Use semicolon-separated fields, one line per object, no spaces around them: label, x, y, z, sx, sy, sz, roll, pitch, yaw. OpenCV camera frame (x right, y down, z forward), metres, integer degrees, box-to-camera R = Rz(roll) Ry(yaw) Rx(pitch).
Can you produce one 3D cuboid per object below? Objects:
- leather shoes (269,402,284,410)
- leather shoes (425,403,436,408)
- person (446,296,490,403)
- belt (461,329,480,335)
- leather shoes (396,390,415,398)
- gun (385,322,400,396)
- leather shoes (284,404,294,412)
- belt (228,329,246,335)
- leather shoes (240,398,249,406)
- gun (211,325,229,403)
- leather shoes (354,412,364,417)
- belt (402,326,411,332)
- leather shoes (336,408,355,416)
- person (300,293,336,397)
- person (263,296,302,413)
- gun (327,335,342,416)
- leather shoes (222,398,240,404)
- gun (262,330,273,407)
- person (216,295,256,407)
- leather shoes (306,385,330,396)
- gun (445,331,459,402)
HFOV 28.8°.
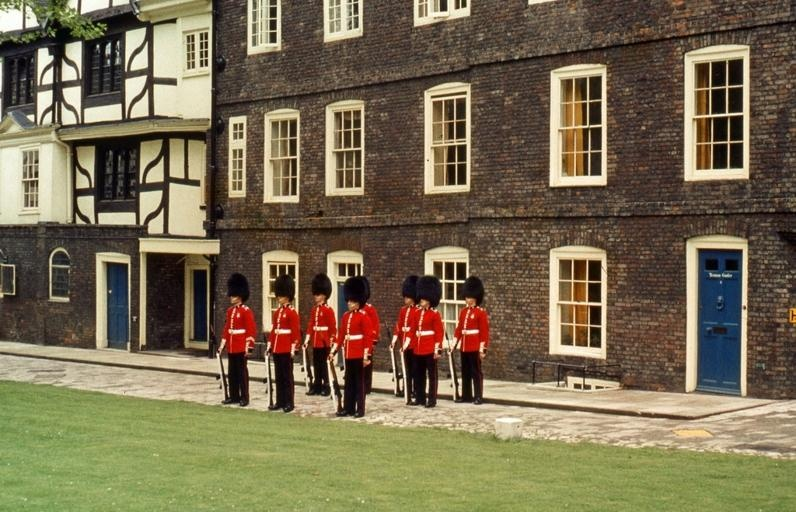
leather shoes;-2.996;3.446;37.224;0.255;0.097;0.162;-2;0;32
leather shoes;0.770;3.447;37.535;0.249;0.109;0.230;0;-4;2
person;1.730;2.200;38.101;0.912;2.508;0.843;0;-4;6
belt;1.787;1.724;38.031;0.381;0.132;0.058;0;-4;-1
leather shoes;0.180;3.280;38.765;0.589;0.235;0.181;-7;-9;44
gun;-0.144;2.542;40.188;0.066;2.017;0.612;2;-27;-21
leather shoes;-2.605;3.483;37.140;0.169;0.180;0.359;-4;-6;43
belt;-3.915;1.694;37.571;0.385;0.113;0.035;0;-4;5
leather shoes;-3.766;3.395;37.686;0.208;0.201;0.402;1;-4;-5
gun;-4.729;2.744;40.752;0.558;1.845;0.122;-11;-3;-8
leather shoes;-0.920;3.574;36.473;0.257;0.123;0.203;2;-5;-16
belt;0.201;1.672;38.105;0.165;0.084;0.125;5;-8;-39
leather shoes;-1.263;3.535;36.570;0.424;0.181;0.169;-4;-8;15
person;-1.959;2.069;38.805;0.605;3.055;1.461;2;-3;-36
person;-2.798;2.117;37.717;0.614;2.966;0.966;-1;3;-32
gun;-1.585;2.782;37.775;0.159;2.062;0.536;-3;-31;-10
leather shoes;-4.129;3.382;37.779;0.379;0.160;0.126;6;-8;-6
gun;-3.357;2.750;39.465;0.080;1.944;0.463;5;-29;-28
person;-3.967;2.164;37.740;0.963;2.591;0.725;0;-4;10
leather shoes;-2.026;3.235;39.168;0.669;0.273;0.225;4;-6;-10
gun;1.372;2.692;39.428;0.340;1.699;0.075;-9;-8;-10
